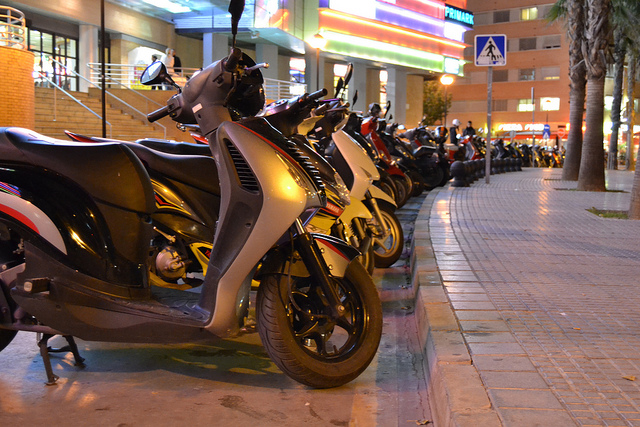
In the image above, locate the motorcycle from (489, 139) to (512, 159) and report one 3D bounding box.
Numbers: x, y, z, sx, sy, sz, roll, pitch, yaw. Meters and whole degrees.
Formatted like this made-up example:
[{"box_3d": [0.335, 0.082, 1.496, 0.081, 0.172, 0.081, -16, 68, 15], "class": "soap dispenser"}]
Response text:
[{"box_3d": [9.203, -3.296, 26.119, 1.031, 0.921, 2.441, 4, 10, 19], "class": "motorcycle"}]
